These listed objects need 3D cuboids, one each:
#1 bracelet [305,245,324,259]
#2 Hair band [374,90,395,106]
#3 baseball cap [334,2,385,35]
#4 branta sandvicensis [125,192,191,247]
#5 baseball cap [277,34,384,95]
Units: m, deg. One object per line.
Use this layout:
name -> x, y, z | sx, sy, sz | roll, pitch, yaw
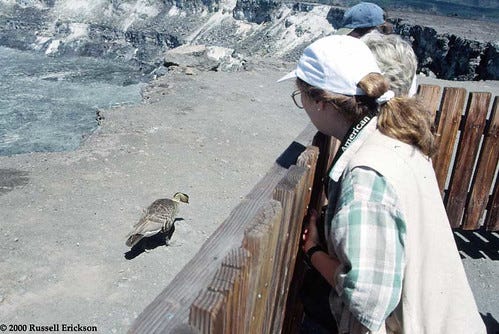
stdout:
bracelet -> 0.408, 0.527, 2.302 | 0.088, 0.034, 0.084 | -5, 37, 51
Hair band -> 0.790, -0.395, 2.124 | 0.070, 0.106, 0.031 | 29, 37, -33
baseball cap -> 1.402, -1.871, 4.579 | 0.706, 0.264, 0.481 | -23, 30, -8
branta sandvicensis -> -1.381, 0.771, 5.529 | 0.474, 0.702, 1.229 | 1, 9, 37
baseball cap -> 0.451, -0.614, 2.347 | 0.623, 0.282, 0.446 | 14, 10, 26
